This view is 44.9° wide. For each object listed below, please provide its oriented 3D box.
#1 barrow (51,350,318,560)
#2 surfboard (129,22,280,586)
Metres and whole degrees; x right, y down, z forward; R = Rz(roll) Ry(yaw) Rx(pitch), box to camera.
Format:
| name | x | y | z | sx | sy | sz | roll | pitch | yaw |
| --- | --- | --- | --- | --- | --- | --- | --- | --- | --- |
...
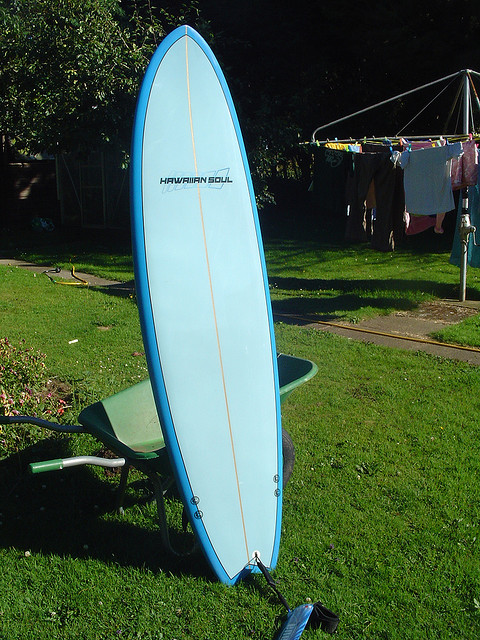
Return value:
| name | x | y | z | sx | sy | sz | roll | pitch | yaw |
| --- | --- | --- | --- | --- | --- | --- | --- | --- | --- |
| barrow | -0.268 | 0.497 | 2.857 | 1.305 | 0.827 | 0.740 | -19 | 23 | -39 |
| surfboard | -0.142 | -0.144 | 2.680 | 0.632 | 2.436 | 0.800 | -1 | 9 | 3 |
